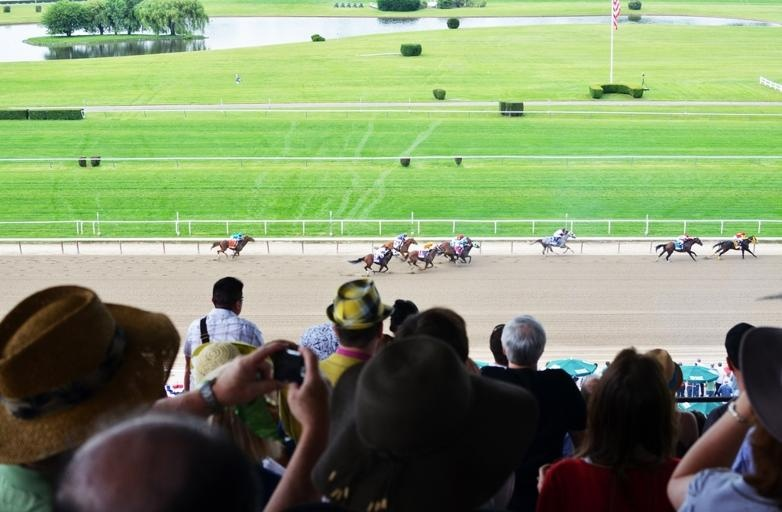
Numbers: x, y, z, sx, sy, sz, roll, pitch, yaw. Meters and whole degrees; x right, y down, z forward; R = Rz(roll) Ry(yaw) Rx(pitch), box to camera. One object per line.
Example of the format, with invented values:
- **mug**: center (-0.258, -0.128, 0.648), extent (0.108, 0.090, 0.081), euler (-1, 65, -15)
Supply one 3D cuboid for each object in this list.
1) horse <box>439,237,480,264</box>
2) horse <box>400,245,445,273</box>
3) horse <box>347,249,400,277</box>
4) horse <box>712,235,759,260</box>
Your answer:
- **horse**: center (3.752, -0.294, 76.556), extent (2.149, 1.521, 1.487), euler (2, 8, 4)
- **horse**: center (1.686, 0.195, 76.046), extent (1.956, 1.555, 1.175), euler (2, 8, 0)
- **horse**: center (-1.042, 0.251, 75.739), extent (2.092, 1.548, 1.042), euler (2, 8, 5)
- **horse**: center (19.046, -0.455, 76.660), extent (2.307, 1.229, 1.232), euler (2, 8, 7)
